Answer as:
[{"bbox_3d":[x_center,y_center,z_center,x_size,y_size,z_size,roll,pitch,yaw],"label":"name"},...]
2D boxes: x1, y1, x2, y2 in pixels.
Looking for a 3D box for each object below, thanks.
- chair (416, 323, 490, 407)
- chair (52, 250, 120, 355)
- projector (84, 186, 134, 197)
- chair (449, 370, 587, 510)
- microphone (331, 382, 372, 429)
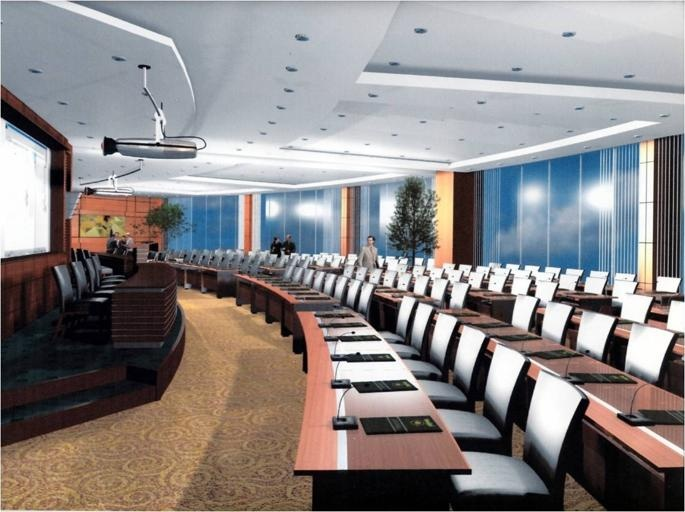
[{"bbox_3d":[1.022,0.919,4.049,0.640,0.891,0.502,3,2,-12],"label":"chair"},{"bbox_3d":[-4.110,0.724,7.117,0.534,0.766,1.355,0,4,-13],"label":"chair"},{"bbox_3d":[-7.607,-2.086,14.676,1.130,0.320,0.710,0,0,-25],"label":"projector"},{"bbox_3d":[1.181,1.134,3.165,0.896,1.225,0.716,3,-2,-2],"label":"chair"},{"bbox_3d":[0.028,0.915,2.826,0.180,0.285,0.165,4,-1,-17],"label":"microphone"}]
